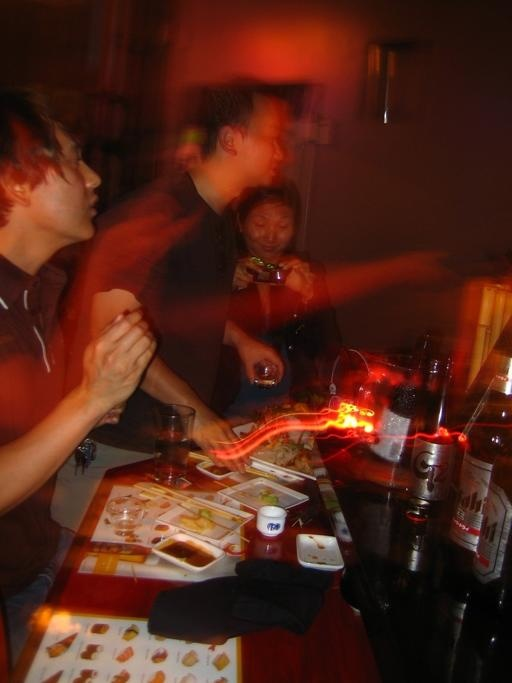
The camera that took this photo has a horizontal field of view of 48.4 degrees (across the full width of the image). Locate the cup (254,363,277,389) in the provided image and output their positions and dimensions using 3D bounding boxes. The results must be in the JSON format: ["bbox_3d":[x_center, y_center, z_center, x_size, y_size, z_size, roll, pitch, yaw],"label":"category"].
[{"bbox_3d":[0.043,0.143,2.332,0.092,0.091,0.072,-1,-24,-14],"label":"cup"}]

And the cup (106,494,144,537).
[{"bbox_3d":[-0.287,0.394,1.289,0.069,0.058,0.059,7,15,20],"label":"cup"}]

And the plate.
[{"bbox_3d":[0.043,0.405,1.446,0.351,0.081,0.614,-1,10,-9],"label":"plate"}]
